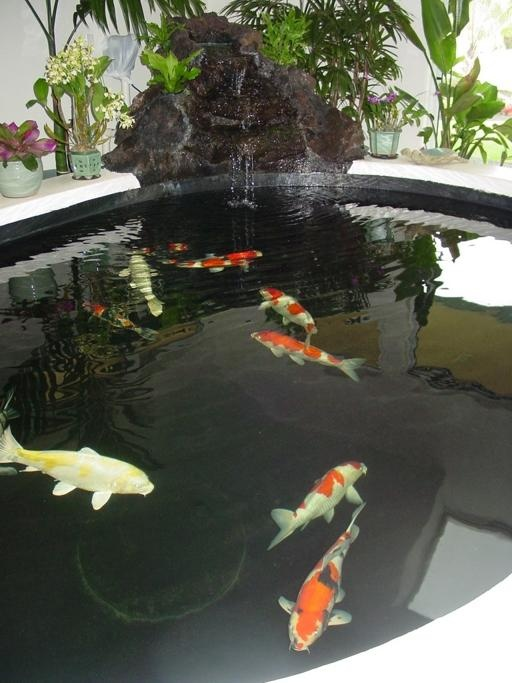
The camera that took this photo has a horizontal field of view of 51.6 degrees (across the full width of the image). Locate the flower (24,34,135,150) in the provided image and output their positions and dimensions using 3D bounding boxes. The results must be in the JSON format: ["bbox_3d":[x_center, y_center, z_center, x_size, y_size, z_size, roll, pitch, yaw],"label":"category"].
[{"bbox_3d":[-1.340,-1.867,4.073,0.710,0.739,0.779,-6,19,-10],"label":"flower"}]

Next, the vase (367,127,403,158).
[{"bbox_3d":[1.258,-1.940,5.151,0.310,0.216,0.298,-1,33,1],"label":"vase"}]

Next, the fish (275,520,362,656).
[{"bbox_3d":[0.150,0.540,1.162,0.094,0.086,0.213,14,50,26],"label":"fish"}]

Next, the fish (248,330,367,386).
[{"bbox_3d":[0.205,0.073,2.172,0.338,0.096,0.070,20,61,5],"label":"fish"}]

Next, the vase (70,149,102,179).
[{"bbox_3d":[-1.318,-1.412,4.216,0.239,0.234,0.259,-5,36,-9],"label":"vase"}]
